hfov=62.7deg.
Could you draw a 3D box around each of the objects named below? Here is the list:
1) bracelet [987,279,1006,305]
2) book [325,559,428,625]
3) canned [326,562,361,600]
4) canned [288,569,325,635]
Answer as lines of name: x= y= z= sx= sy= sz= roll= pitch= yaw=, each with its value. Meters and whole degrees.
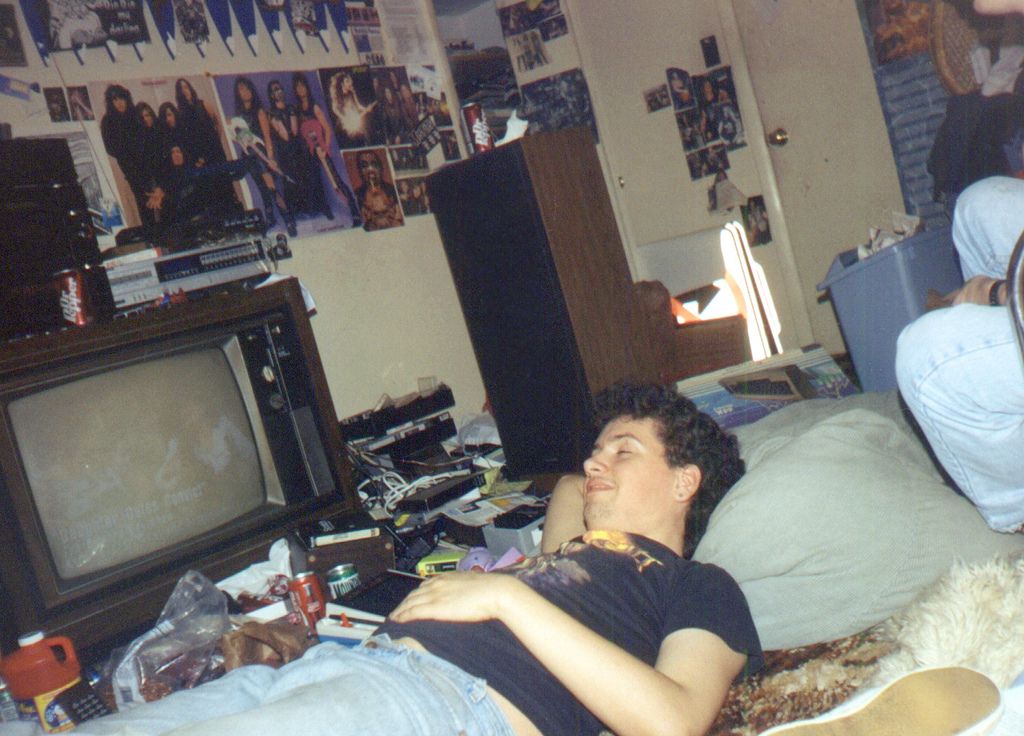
bracelet: x=1.191 y=-0.182 z=2.067 sx=0.025 sy=0.076 sz=0.054 roll=5 pitch=-3 yaw=-7
book: x=-0.399 y=0.687 z=2.562 sx=0.159 sy=0.052 sz=0.181 roll=9 pitch=20 yaw=28
canned: x=-0.520 y=0.653 z=2.585 sx=0.087 sy=0.105 sz=0.094 roll=-2 pitch=-4 yaw=6
canned: x=-0.609 y=0.707 z=2.524 sx=0.090 sy=0.178 sz=0.096 roll=-9 pitch=7 yaw=12
